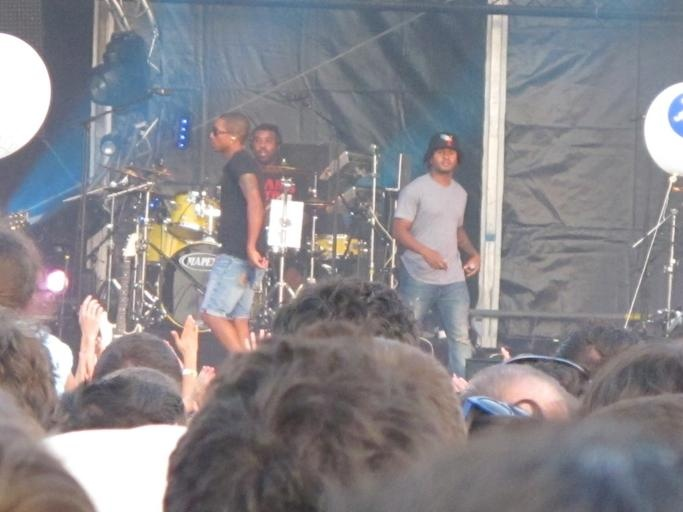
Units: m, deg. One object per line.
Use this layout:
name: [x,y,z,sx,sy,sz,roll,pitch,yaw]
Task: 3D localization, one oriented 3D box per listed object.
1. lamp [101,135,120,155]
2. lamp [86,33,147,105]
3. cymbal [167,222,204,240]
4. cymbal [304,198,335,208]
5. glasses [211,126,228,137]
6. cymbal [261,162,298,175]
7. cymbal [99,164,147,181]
lamp: [-2.476,-1.196,13.023,0.205,0.207,0.203,10,17,-13]
lamp: [-2.190,-1.835,12.008,0.573,0.766,0.314,8,-5,-4]
cymbal: [-1.780,-0.277,13.853,0.281,0.056,0.260,5,-22,-8]
cymbal: [-0.233,-0.574,13.586,0.312,0.123,0.348,7,-5,3]
glasses: [-1.144,-1.174,11.404,0.161,0.049,0.150,5,8,-15]
cymbal: [-0.712,-0.990,13.679,0.276,0.063,0.266,8,-11,-40]
cymbal: [-2.356,-0.908,13.306,0.470,0.097,1.044,8,-5,-11]
